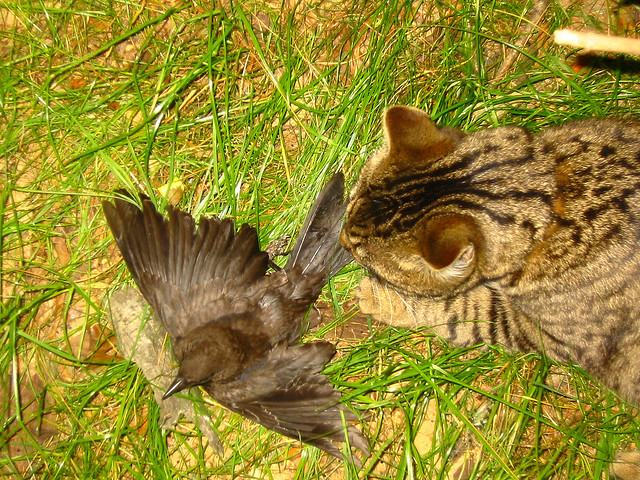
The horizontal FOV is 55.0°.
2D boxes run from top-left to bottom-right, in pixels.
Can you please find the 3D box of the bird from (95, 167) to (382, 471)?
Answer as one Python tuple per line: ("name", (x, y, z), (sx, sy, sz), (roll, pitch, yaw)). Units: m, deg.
("bird", (-0.319, 0.346, 2.807), (1.051, 1.276, 0.653), (-13, 22, 1))
